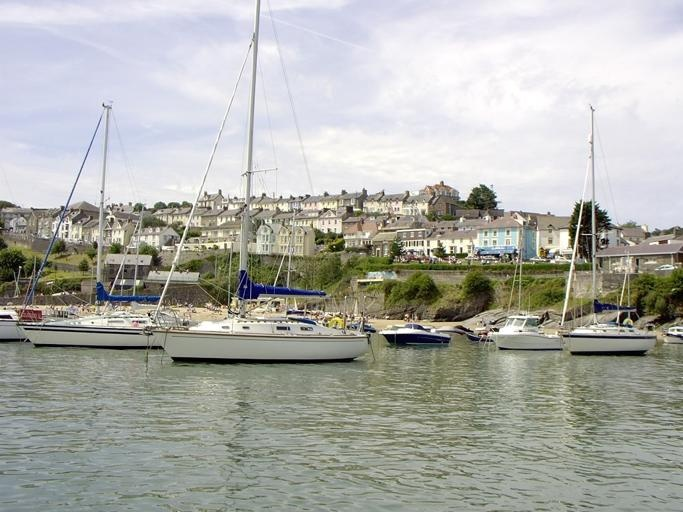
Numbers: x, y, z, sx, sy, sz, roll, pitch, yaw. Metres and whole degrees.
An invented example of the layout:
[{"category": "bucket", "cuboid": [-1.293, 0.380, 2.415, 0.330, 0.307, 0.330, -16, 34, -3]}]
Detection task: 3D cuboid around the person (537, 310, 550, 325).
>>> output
[{"category": "person", "cuboid": [19.114, 5.849, 77.343, 0.694, 0.733, 2.403, -5, -17, -15]}]
